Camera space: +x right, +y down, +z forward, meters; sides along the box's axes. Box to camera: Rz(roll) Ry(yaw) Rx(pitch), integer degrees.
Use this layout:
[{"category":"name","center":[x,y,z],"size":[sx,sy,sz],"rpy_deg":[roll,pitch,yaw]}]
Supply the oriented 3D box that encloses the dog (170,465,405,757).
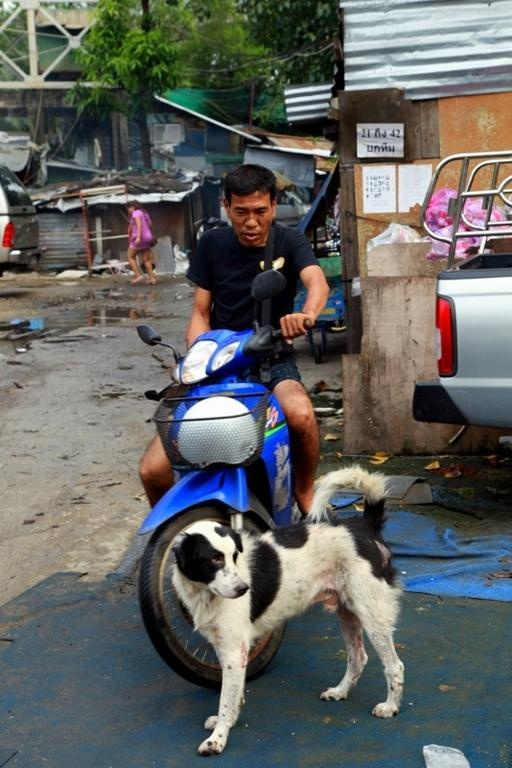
[{"category":"dog","center":[0.108,0.673,2.180],"size":[0.760,0.777,0.374],"rpy_deg":[-6,13,-24]}]

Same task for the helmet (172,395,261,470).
[{"category":"helmet","center":[-0.118,0.132,2.080],"size":[0.206,0.167,0.218],"rpy_deg":[-2,3,4]}]
